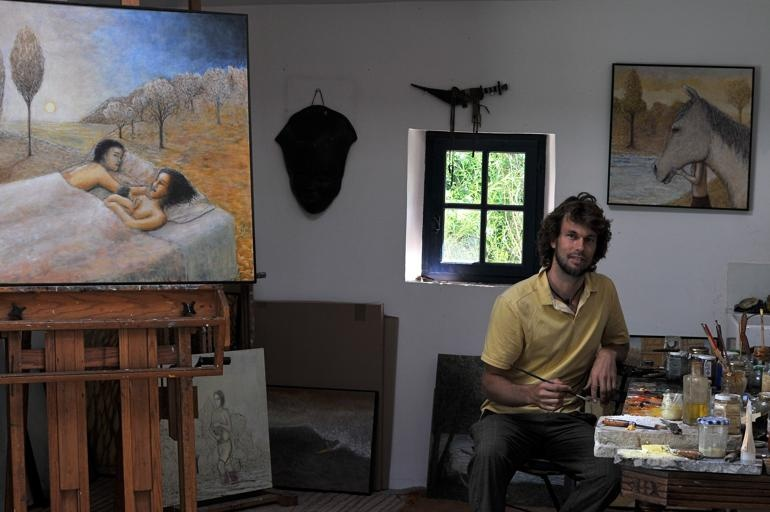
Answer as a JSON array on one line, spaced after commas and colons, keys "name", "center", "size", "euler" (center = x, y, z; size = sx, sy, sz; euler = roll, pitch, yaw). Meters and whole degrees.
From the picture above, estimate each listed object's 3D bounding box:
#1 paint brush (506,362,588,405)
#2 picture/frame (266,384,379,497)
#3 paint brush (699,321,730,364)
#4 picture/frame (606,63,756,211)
[{"name": "paint brush", "center": [0.892, 0.713, 3.943], "size": [0.556, 0.026, 0.073], "euler": [20, 7, -9]}, {"name": "picture/frame", "center": [-0.446, 1.359, 5.063], "size": [0.828, 0.670, 0.092], "euler": [0, -11, 2]}, {"name": "paint brush", "center": [2.079, 0.549, 4.462], "size": [0.063, 0.256, 0.077], "euler": [-20, -2, -9]}, {"name": "picture/frame", "center": [2.162, -0.898, 5.072], "size": [1.107, 1.054, 0.020], "euler": [1, 3, 5]}]
